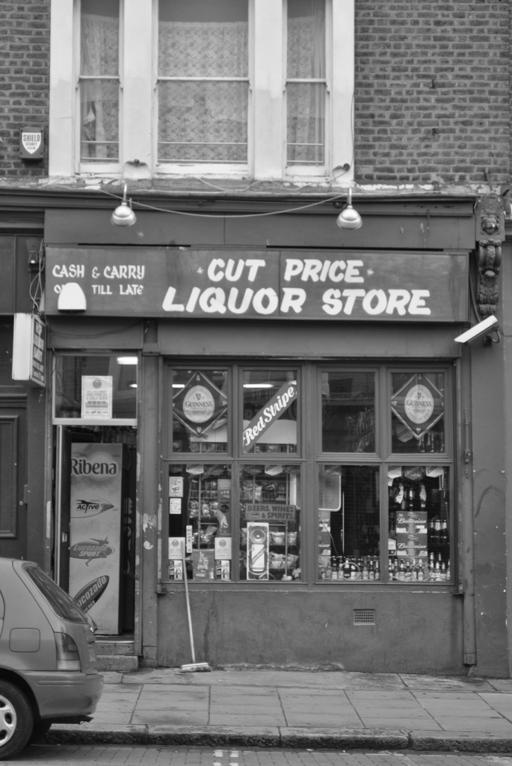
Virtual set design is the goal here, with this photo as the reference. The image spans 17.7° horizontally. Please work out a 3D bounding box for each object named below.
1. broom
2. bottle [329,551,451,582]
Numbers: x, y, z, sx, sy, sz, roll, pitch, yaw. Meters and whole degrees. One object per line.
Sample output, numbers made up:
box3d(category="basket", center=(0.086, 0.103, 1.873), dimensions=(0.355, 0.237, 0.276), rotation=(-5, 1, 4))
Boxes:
box3d(category="broom", center=(-0.678, 2.355, 16.755), dimensions=(0.343, 1.165, 0.373), rotation=(-10, -7, 34))
box3d(category="bottle", center=(1.365, 1.935, 17.140), dimensions=(1.310, 0.292, 0.186), rotation=(5, -4, -7))
